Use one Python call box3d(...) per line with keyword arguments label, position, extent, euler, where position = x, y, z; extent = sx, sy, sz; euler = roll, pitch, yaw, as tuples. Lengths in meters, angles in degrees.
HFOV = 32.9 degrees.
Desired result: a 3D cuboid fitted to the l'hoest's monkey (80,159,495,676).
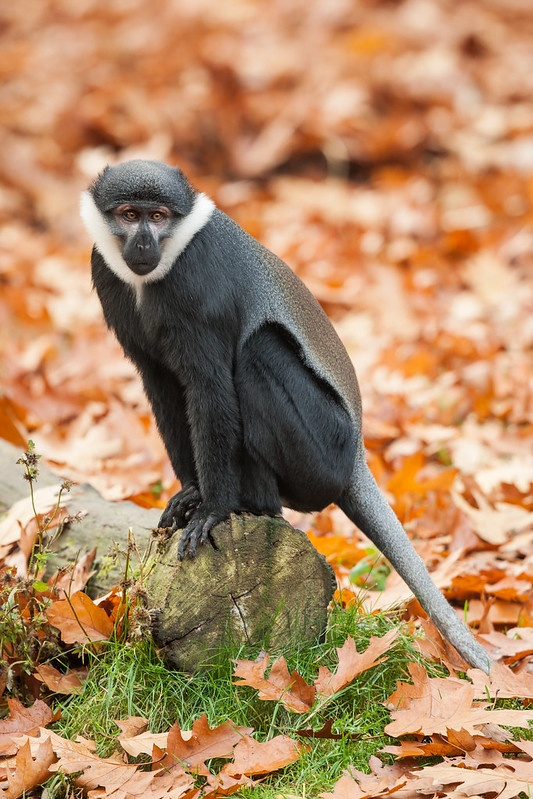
box3d(label="l'hoest's monkey", position=(-0.040, 0.101, 3.434), extent=(1.042, 1.977, 0.666), euler=(-6, -14, -25))
